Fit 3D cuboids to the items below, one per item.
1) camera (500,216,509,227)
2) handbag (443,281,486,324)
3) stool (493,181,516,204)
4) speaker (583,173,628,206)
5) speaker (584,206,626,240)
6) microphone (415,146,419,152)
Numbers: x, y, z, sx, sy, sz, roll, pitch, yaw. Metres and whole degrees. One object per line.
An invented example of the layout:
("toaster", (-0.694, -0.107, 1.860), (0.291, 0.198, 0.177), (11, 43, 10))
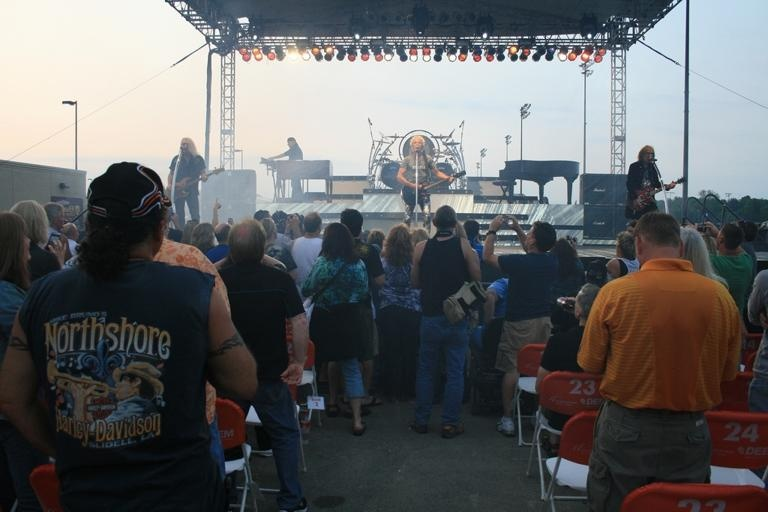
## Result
("camera", (2.353, -0.678, 21.120), (0.159, 0.202, 0.295), (0, 1, 18))
("handbag", (1.395, 0.828, 19.237), (0.634, 0.453, 0.343), (-36, 44, -8))
("stool", (4.220, -2.109, 37.115), (0.983, 1.079, 0.997), (-1, -3, 1))
("speaker", (6.736, -2.052, 32.967), (1.675, 1.206, 0.983), (0, -6, 4))
("speaker", (6.618, -1.015, 32.322), (1.705, 1.252, 0.927), (-1, -4, 0))
("microphone", (0.880, -2.950, 29.427), (0.098, 0.184, 0.100), (0, -23, 4))
